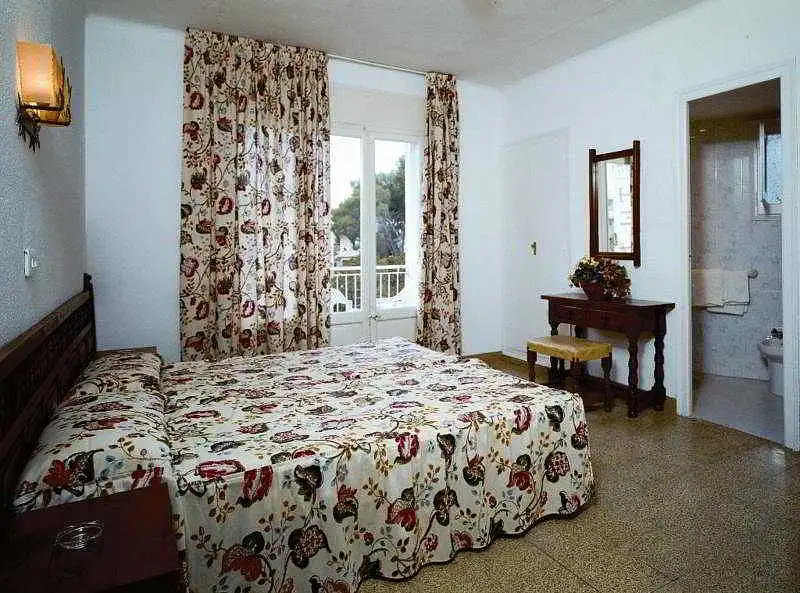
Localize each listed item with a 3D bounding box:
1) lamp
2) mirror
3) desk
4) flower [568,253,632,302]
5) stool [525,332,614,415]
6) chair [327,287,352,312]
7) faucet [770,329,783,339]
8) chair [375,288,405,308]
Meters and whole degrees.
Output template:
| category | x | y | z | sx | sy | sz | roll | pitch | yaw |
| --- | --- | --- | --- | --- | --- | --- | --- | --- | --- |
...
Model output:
| category | x | y | z | sx | sy | sz | roll | pitch | yaw |
| --- | --- | --- | --- | --- | --- | --- | --- | --- | --- |
| lamp | -1.726 | -0.929 | 2.721 | 0.149 | 0.547 | 0.302 | 2 | 7 | 8 |
| mirror | 1.871 | -0.793 | 5.054 | 0.083 | 1.017 | 0.459 | -7 | 8 | -36 |
| desk | 1.758 | 0.454 | 4.999 | 0.456 | 0.991 | 1.006 | -10 | 13 | -30 |
| flower | 1.713 | -0.149 | 4.982 | 0.424 | 0.353 | 0.473 | 7 | -3 | -29 |
| stool | 1.427 | 0.649 | 4.909 | 0.403 | 0.580 | 0.659 | -4 | 5 | -23 |
| chair | -0.567 | 0.029 | 5.499 | 0.191 | 0.279 | 0.189 | -3 | 7 | -16 |
| faucet | 3.356 | 0.328 | 5.122 | 0.083 | 0.058 | 0.137 | -2 | 15 | 24 |
| chair | -0.089 | 0.030 | 5.732 | 0.255 | 0.239 | 0.144 | 1 | 1 | -24 |
